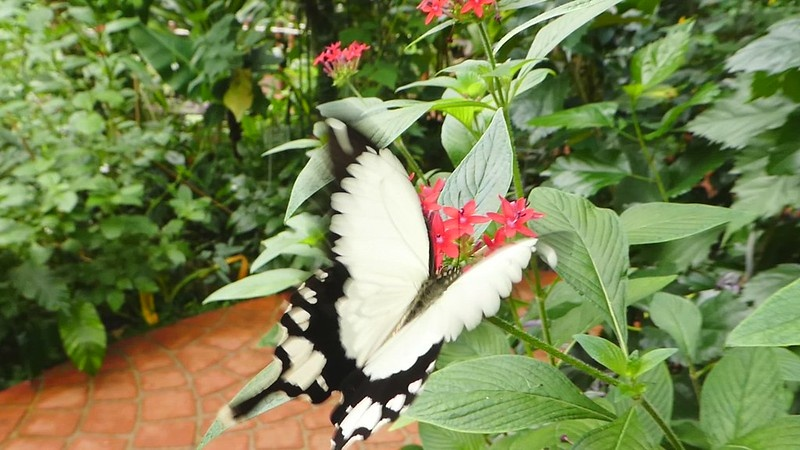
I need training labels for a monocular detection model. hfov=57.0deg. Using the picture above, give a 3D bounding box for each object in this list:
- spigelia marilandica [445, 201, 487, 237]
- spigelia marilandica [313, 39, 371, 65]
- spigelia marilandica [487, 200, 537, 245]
[{"bbox_3d":[0.316,-0.077,3.608,0.166,0.069,0.178,-23,43,-24],"label":"spigelia marilandica"},{"bbox_3d":[-0.317,-1.065,4.643,0.337,0.096,0.327,-1,10,14],"label":"spigelia marilandica"},{"bbox_3d":[0.571,-0.046,3.665,0.278,0.268,0.128,-12,67,-3],"label":"spigelia marilandica"}]
